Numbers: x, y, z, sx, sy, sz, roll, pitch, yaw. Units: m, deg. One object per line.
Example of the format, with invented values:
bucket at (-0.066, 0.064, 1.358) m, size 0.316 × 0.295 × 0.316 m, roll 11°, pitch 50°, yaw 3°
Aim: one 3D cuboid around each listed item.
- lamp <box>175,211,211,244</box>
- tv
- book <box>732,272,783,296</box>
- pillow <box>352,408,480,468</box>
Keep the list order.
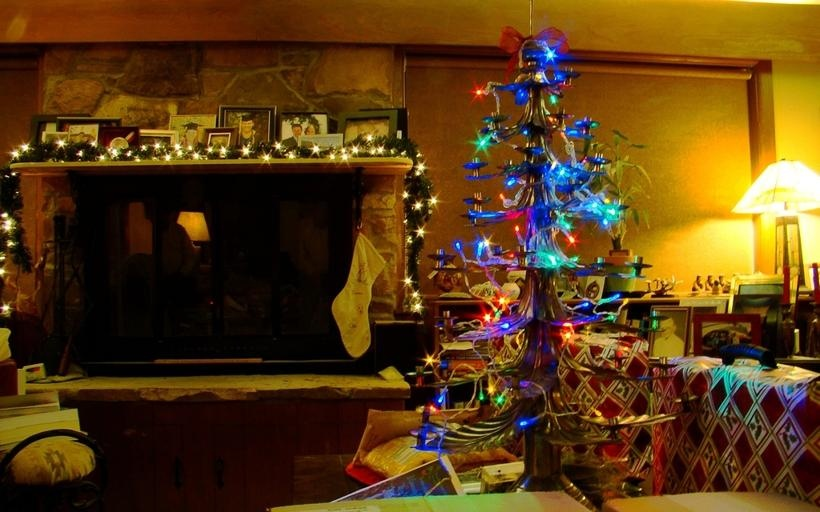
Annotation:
lamp at (-1.543, -0.214, 5.237) m, size 0.235 × 0.216 × 0.217 m, roll 2°, pitch 1°, yaw 10°
tv at (-1.431, 0.155, 5.101) m, size 1.549 × 1.021 × 0.501 m, roll 0°, pitch -1°, yaw -1°
book at (2.179, 0.181, 4.568) m, size 0.241 × 0.145 × 0.058 m, roll 4°, pitch -6°, yaw 6°
pillow at (-0.008, 0.816, 3.439) m, size 0.390 × 0.163 × 0.376 m, roll -2°, pitch 2°, yaw 13°
